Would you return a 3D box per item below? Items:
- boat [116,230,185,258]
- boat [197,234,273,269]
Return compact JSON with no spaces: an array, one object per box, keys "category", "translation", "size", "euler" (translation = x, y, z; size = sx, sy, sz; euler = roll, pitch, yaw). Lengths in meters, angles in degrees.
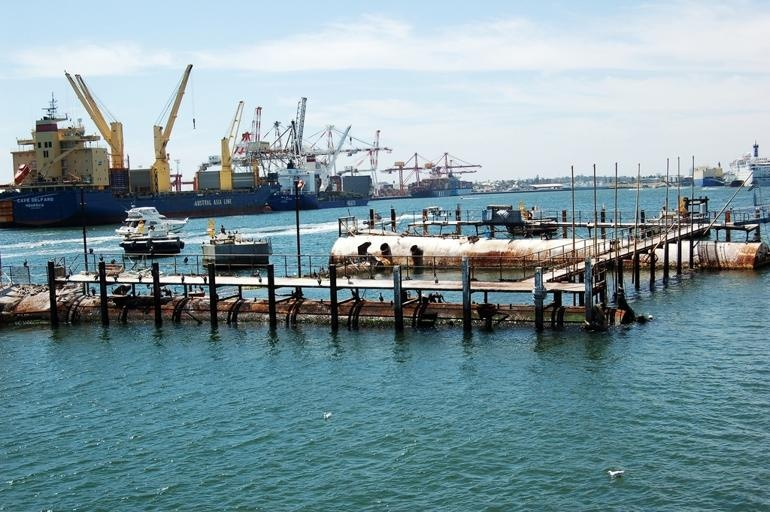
[{"category":"boat","translation":[-24.126,-1.360,109.532],"size":[5.778,1.776,3.562],"euler":[-1,7,0]},{"category":"boat","translation":[-12.704,-0.577,94.300],"size":[5.312,2.639,5.093],"euler":[1,2,28]}]
